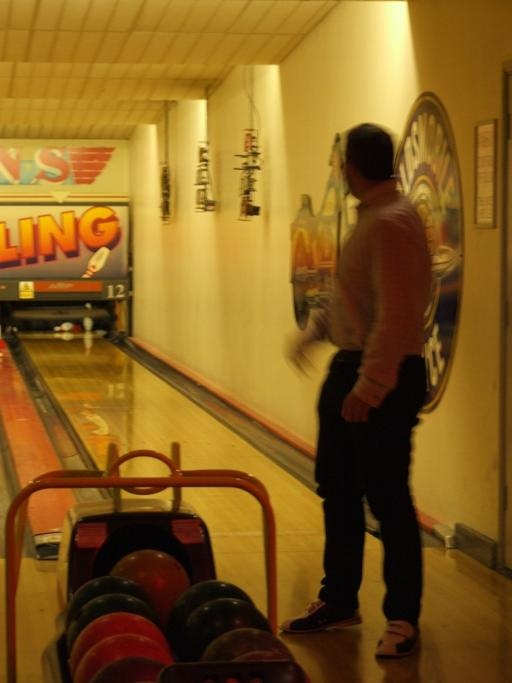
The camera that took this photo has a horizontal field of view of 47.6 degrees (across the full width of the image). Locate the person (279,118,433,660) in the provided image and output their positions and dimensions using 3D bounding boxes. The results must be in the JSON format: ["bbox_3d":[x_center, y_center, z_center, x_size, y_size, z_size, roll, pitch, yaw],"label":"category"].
[{"bbox_3d":[0.285,0.140,1.564,0.316,1.393,0.478,2,-3,-35],"label":"person"}]

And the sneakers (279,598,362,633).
[{"bbox_3d":[0.186,0.804,1.725,0.245,0.100,0.084,0,-4,-10],"label":"sneakers"}]
